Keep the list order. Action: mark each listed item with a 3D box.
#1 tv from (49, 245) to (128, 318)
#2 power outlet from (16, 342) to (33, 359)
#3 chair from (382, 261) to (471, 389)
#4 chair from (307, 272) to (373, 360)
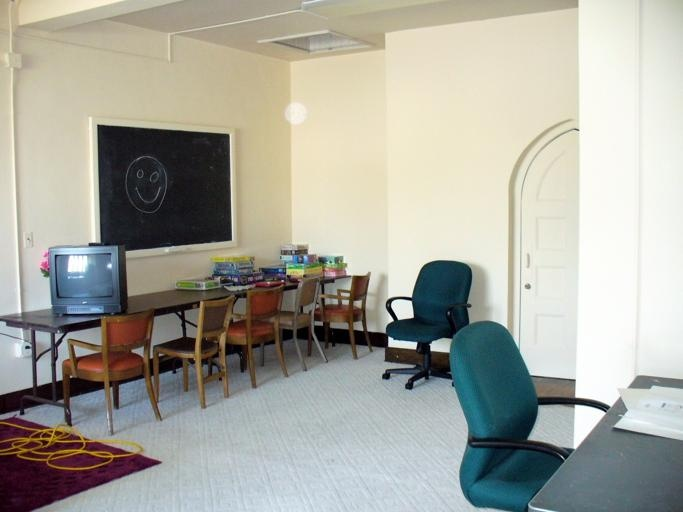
[{"bbox_3d":[-2.098,0.218,4.406,0.600,0.567,0.316,-1,-3,-2],"label":"tv"},{"bbox_3d":[-2.701,0.804,4.536,0.065,0.163,0.119,8,11,43],"label":"power outlet"},{"bbox_3d":[0.871,0.664,5.253,0.817,1.166,0.834,-6,6,-40],"label":"chair"},{"bbox_3d":[-0.085,0.695,6.675,0.897,1.355,0.930,2,2,13],"label":"chair"}]
